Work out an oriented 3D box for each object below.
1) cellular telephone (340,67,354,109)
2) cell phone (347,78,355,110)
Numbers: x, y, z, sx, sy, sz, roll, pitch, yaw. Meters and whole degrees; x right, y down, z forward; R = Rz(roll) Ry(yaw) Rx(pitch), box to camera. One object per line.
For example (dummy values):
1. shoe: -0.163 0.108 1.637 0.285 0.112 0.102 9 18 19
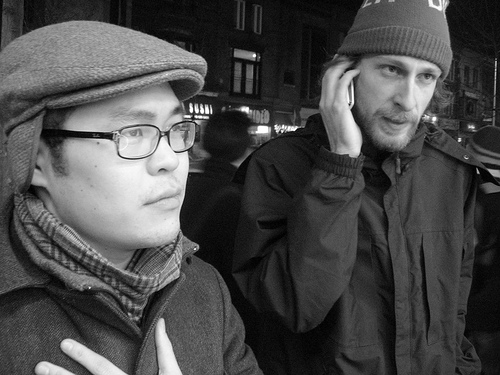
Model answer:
1. cellular telephone: 0.490 -0.471 2.734 0.028 0.117 0.065 1 1 -32
2. cell phone: 0.510 -0.465 2.745 0.029 0.111 0.083 3 1 -3
